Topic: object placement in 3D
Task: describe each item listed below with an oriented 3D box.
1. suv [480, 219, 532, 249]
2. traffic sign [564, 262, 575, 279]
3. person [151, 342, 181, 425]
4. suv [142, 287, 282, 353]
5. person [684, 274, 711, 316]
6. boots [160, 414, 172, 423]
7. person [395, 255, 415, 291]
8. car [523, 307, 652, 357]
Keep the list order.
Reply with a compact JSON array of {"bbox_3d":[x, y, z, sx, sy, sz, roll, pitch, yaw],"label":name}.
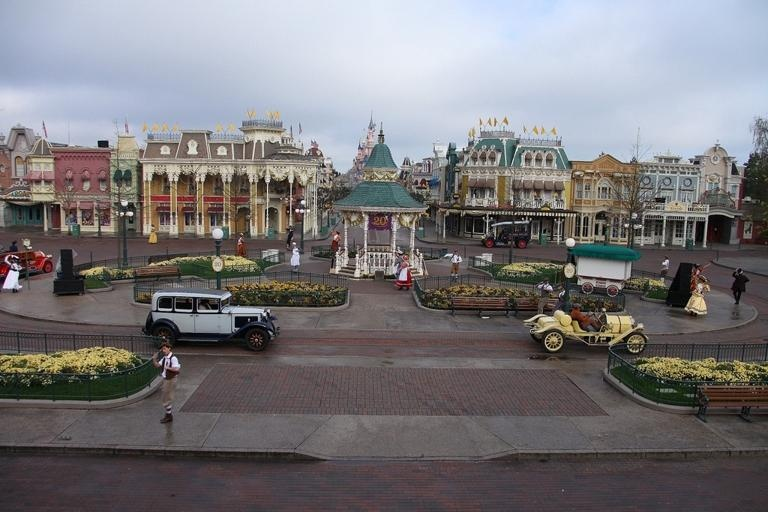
[{"bbox_3d":[10.874,-1.883,67.717,4.327,2.313,2.309,1,3,2],"label":"suv"},{"bbox_3d":[8.429,0.673,35.894,0.391,0.775,1.191,3,11,10],"label":"traffic sign"},{"bbox_3d":[-7.584,4.356,27.918,0.825,2.727,1.271,-2,11,-16],"label":"person"},{"bbox_3d":[-7.219,2.682,33.899,5.960,2.187,2.285,1,2,6],"label":"suv"},{"bbox_3d":[15.807,2.029,39.876,1.009,1.853,1.427,6,12,22],"label":"person"},{"bbox_3d":[-7.544,5.675,27.722,0.523,0.338,0.192,6,-1,7],"label":"boots"},{"bbox_3d":[1.218,0.884,44.561,0.889,1.870,1.013,1,11,-2],"label":"person"},{"bbox_3d":[8.878,3.236,34.341,4.745,1.543,2.203,-2,7,-2],"label":"car"}]
